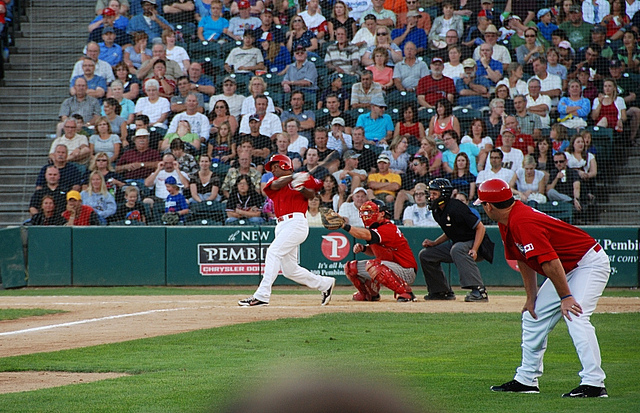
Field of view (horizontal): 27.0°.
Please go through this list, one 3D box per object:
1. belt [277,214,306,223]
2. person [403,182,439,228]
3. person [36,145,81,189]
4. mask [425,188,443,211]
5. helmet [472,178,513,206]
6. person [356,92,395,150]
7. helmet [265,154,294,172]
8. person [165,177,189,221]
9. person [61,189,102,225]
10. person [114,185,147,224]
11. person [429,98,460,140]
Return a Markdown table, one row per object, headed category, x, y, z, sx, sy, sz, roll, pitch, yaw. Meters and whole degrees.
| category | x | y | z | sx | sy | sz | roll | pitch | yaw |
| --- | --- | --- | --- | --- | --- | --- | --- | --- | --- |
| belt | -0.618 | 0.233 | 28.673 | 0.567 | 0.182 | 0.133 | 0 | 14 | 2 |
| person | 2.473 | 0.112 | 32.267 | 0.969 | 1.380 | 0.804 | -8 | 0 | 15 |
| person | -6.434 | -0.790 | 33.039 | 1.222 | 1.574 | 0.840 | 0 | -5 | -11 |
| mask | 2.501 | -0.183 | 29.431 | 0.473 | 0.441 | 0.372 | 0 | 4 | -1 |
| helmet | 3.230 | -0.278 | 24.903 | 0.560 | 0.286 | 0.414 | 7 | 23 | 30 |
| person | 1.337 | -2.128 | 33.596 | 1.100 | 1.448 | 1.190 | 5 | -4 | 5 |
| helmet | -0.864 | -0.999 | 28.613 | 0.530 | 0.273 | 0.350 | 13 | -23 | -3 |
| person | -3.508 | -0.193 | 32.777 | 0.551 | 1.030 | 0.370 | -2 | 15 | -6 |
| person | -5.859 | 0.029 | 32.671 | 0.962 | 0.793 | 0.345 | -3 | 15 | -10 |
| person | -4.668 | -0.021 | 32.824 | 0.896 | 1.405 | 0.513 | 0 | -11 | -9 |
| person | 3.073 | -2.126 | 33.369 | 0.887 | 1.181 | 0.849 | -7 | -2 | 11 |
